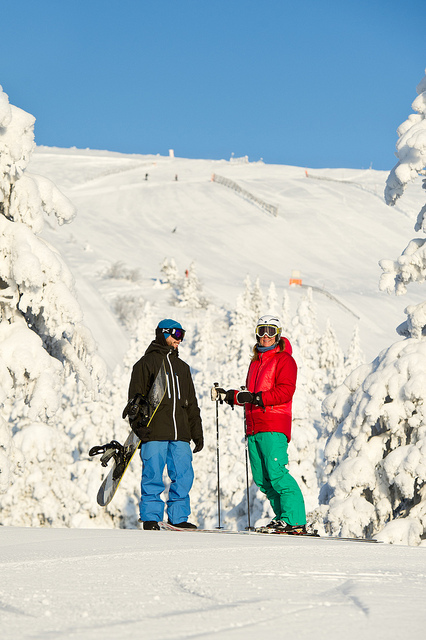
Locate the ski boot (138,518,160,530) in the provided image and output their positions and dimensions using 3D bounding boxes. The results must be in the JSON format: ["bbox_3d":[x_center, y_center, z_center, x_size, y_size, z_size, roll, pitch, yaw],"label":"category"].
[{"bbox_3d":[-0.543,1.763,10.796,0.134,0.082,0.246,3,1,-16],"label":"ski boot"}]

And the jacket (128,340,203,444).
[{"bbox_3d":[-0.425,0.663,11.347,0.694,0.986,0.358,7,-15,-34],"label":"jacket"}]

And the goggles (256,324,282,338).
[{"bbox_3d":[0.501,0.110,11.524,0.245,0.119,0.140,3,1,-11],"label":"goggles"}]

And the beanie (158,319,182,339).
[{"bbox_3d":[-0.401,0.043,11.404,0.143,0.198,0.175,-12,-30,-43],"label":"beanie"}]

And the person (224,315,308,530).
[{"bbox_3d":[0.508,0.898,11.272,0.593,1.850,0.946,3,1,-9],"label":"person"}]
